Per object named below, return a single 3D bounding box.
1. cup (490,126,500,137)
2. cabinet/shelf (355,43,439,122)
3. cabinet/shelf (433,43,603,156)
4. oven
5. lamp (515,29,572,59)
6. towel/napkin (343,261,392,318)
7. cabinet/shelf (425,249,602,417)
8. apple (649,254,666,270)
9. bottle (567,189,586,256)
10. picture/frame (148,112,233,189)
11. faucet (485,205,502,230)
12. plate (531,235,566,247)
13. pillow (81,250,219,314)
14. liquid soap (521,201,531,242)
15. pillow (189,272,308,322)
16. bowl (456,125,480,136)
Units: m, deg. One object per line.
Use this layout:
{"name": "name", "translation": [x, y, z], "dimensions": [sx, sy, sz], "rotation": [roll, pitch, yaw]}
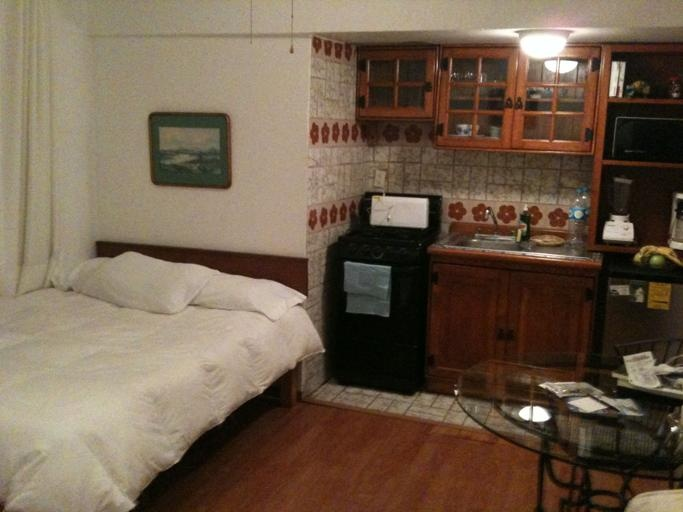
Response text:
{"name": "cup", "translation": [1.113, -0.903, 4.046], "dimensions": [0.072, 0.079, 0.072], "rotation": [3, 6, 0]}
{"name": "cabinet/shelf", "translation": [0.442, -1.339, 4.221], "dimensions": [0.538, 0.459, 0.227], "rotation": [5, 15, 19]}
{"name": "cabinet/shelf", "translation": [1.282, -1.137, 3.943], "dimensions": [0.823, 0.537, 0.214], "rotation": [4, 12, 17]}
{"name": "oven", "translation": [0.429, 0.481, 4.429], "dimensions": [0.885, 1.030, 0.893], "rotation": [4, -4, 14]}
{"name": "lamp", "translation": [1.278, -1.362, 3.618], "dimensions": [0.224, 0.132, 0.217], "rotation": [-1, 17, -6]}
{"name": "towel/napkin", "translation": [0.202, 0.222, 4.044], "dimensions": [0.392, 0.389, 0.067], "rotation": [4, 9, 24]}
{"name": "cabinet/shelf", "translation": [1.137, 0.343, 4.261], "dimensions": [1.472, 1.328, 0.851], "rotation": [4, 7, 18]}
{"name": "apple", "translation": [2.083, 0.025, 3.688], "dimensions": [0.090, 0.087, 0.122], "rotation": [8, 15, 30]}
{"name": "bottle", "translation": [1.752, -0.293, 4.145], "dimensions": [0.143, 0.429, 0.407], "rotation": [6, 14, 22]}
{"name": "picture/frame", "translation": [-1.102, -0.765, 4.072], "dimensions": [0.697, 0.520, 0.028], "rotation": [5, 13, 19]}
{"name": "faucet", "translation": [1.204, -0.311, 4.479], "dimensions": [0.123, 0.176, 0.101], "rotation": [7, 15, 26]}
{"name": "plate", "translation": [1.559, -0.125, 4.228], "dimensions": [0.237, 0.063, 0.244], "rotation": [9, 15, 33]}
{"name": "pillow", "translation": [-1.309, 0.141, 3.730], "dimensions": [0.707, 0.159, 0.419], "rotation": [9, 34, 31]}
{"name": "liquid soap", "translation": [1.434, -0.267, 4.343], "dimensions": [0.089, 0.256, 0.229], "rotation": [5, 14, 18]}
{"name": "pillow", "translation": [-0.630, 0.250, 3.635], "dimensions": [0.488, 0.110, 0.330], "rotation": [9, 23, 16]}
{"name": "bowl", "translation": [0.918, -0.931, 4.119], "dimensions": [0.119, 0.054, 0.095], "rotation": [1, 2, -40]}
